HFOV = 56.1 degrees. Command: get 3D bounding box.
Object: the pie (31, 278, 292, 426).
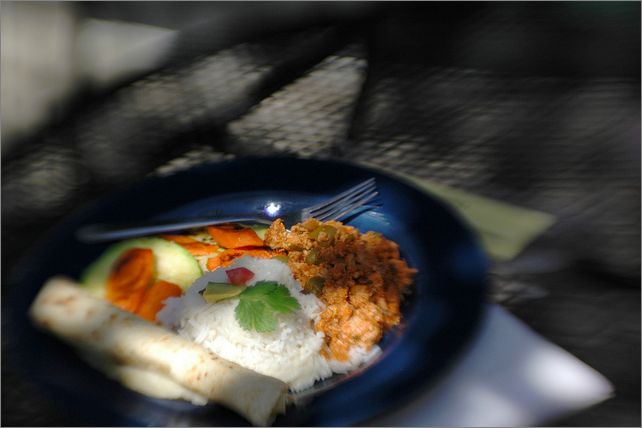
[{"bbox_3d":[-0.605,0.495,2.161,1.016,0.239,0.188,25,78,3],"label":"pie"}]
